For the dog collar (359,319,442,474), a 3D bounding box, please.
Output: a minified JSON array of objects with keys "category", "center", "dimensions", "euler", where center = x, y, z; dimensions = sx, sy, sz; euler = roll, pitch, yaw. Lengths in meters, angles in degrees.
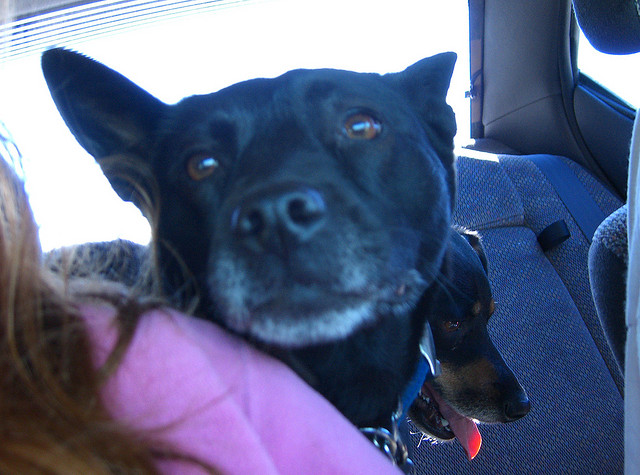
[{"category":"dog collar","center":[0.125,0.285,1.219],"dimensions":[0.162,0.267,0.075],"euler":[-10,21,-43]}]
